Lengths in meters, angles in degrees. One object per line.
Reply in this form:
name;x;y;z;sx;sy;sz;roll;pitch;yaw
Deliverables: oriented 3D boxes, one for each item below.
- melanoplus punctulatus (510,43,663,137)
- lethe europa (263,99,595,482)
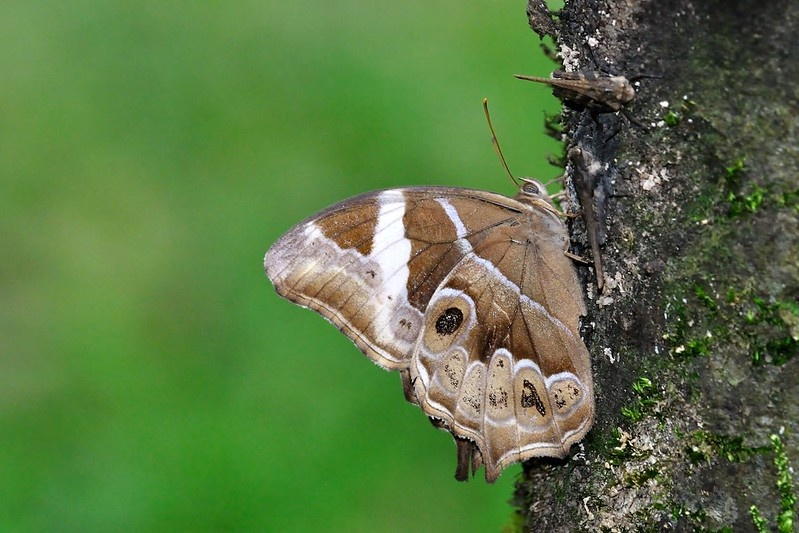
melanoplus punctulatus;1.350;-1.276;6.072;0.999;0.820;0.362;10;5;12
lethe europa;0.390;0.416;6.188;1.946;2.052;1.084;-12;28;11
